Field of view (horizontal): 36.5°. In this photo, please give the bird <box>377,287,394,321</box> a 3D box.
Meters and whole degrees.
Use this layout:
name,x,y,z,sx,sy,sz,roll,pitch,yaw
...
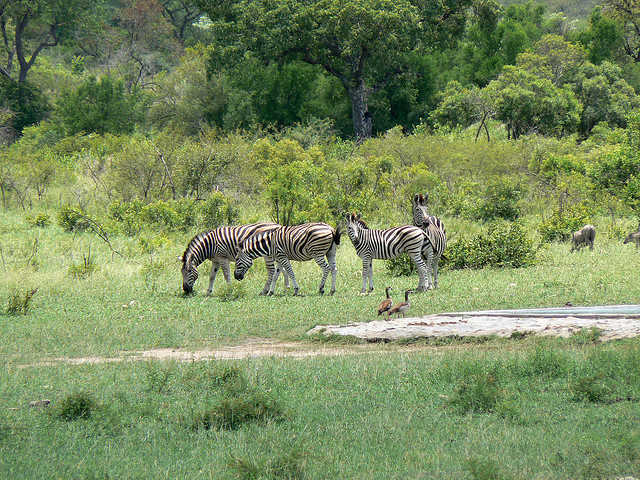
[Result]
name,x,y,z,sx,sy,sz,roll,pitch,yaw
bird,2.406,2.365,36.307,0.543,1.180,0.855,0,4,6

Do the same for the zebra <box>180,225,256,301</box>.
name,x,y,z,sx,sy,sz,roll,pitch,yaw
zebra,-4.159,0.877,41.183,1.153,2.690,4.560,-12,-2,39

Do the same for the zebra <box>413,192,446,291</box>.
name,x,y,z,sx,sy,sz,roll,pitch,yaw
zebra,4.468,-0.087,39.964,1.203,4.062,1.178,3,6,26

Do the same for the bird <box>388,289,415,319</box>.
name,x,y,z,sx,sy,sz,roll,pitch,yaw
bird,3.042,2.371,36.699,0.706,1.050,1.752,1,4,10
